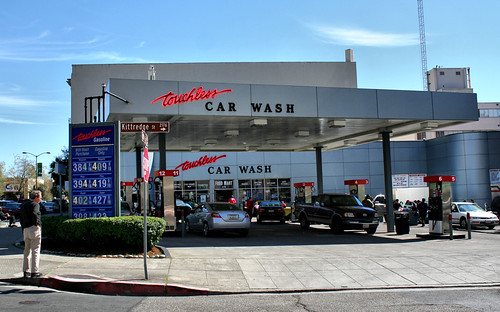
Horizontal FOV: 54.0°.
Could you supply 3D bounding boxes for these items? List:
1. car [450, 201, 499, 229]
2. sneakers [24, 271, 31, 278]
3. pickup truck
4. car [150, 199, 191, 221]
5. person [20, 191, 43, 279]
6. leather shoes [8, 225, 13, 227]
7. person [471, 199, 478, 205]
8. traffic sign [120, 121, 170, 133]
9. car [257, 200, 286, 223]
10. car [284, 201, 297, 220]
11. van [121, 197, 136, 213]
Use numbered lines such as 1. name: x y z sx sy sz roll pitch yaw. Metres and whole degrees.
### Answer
1. car: 14.610 3.903 32.097 2.108 1.367 4.360 1 -6 -15
2. sneakers: -7.714 4.105 17.040 0.290 0.113 0.132 -3 -4 30
3. pickup truck: 5.069 3.287 29.123 2.200 1.476 4.384 3 -6 -25
4. car: -5.045 4.038 35.404 3.958 1.308 1.722 2 -2 9
5. person: -7.665 2.713 17.207 0.640 2.890 1.119 -1 7 -25
6. leather shoes: -15.290 4.469 31.415 0.270 0.165 0.138 1 -25 -16
7. person: 19.721 4.016 43.233 0.214 0.326 1.394 -18 -20 22
8. traffic sign: -4.717 -1.298 22.058 2.059 0.435 0.681 1 6 -10
9. car: 1.587 4.189 36.041 1.984 1.602 1.562 2 6 3
10. car: 3.085 4.459 38.794 0.707 1.306 2.639 3 6 5
11. van: -8.546 3.438 34.275 1.056 0.701 2.180 1 5 -8
